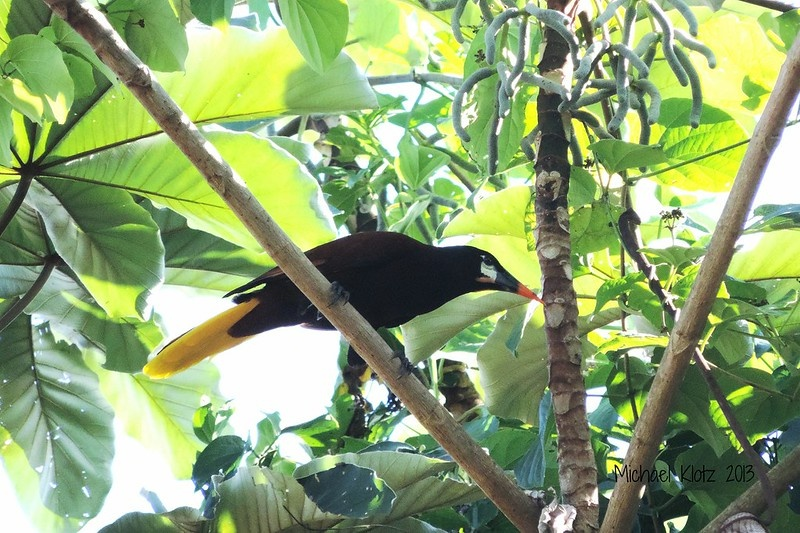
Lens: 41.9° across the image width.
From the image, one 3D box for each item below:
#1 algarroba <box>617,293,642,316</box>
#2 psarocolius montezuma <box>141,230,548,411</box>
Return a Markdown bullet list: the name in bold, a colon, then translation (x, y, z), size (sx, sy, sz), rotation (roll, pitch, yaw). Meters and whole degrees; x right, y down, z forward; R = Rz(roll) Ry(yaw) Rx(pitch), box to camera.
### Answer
- **algarroba**: translation (0.566, 0.096, 2.569), size (0.015, 0.044, 0.054), rotation (-23, -93, 4)
- **psarocolius montezuma**: translation (-0.147, 0.112, 2.960), size (1.113, 0.433, 0.280), rotation (1, -27, 1)
